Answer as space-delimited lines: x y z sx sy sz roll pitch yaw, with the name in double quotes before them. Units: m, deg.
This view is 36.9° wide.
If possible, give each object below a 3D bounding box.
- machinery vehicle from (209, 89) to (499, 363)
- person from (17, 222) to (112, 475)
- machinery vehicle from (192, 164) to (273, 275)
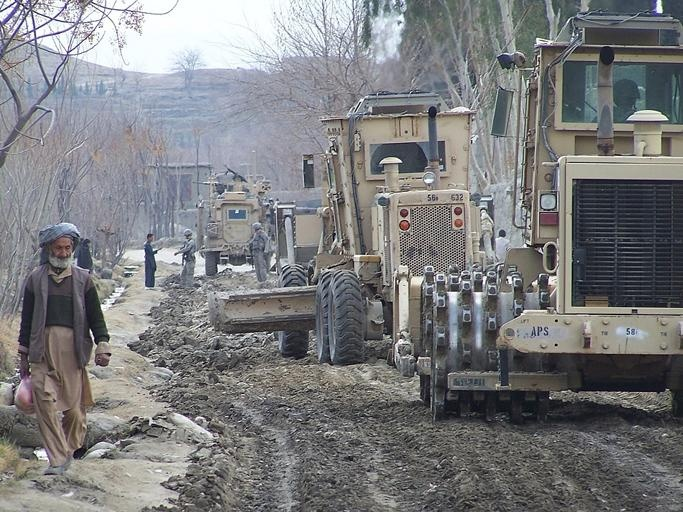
"machinery vehicle" 0.352 -0.415 14.204 2.704 2.700 4.858 0 -4 -10
"person" -2.634 0.803 9.649 0.868 2.196 0.714 -11 11 -41
"machinery vehicle" -3.446 -0.862 33.724 2.594 2.911 4.812 -3 -3 -11
